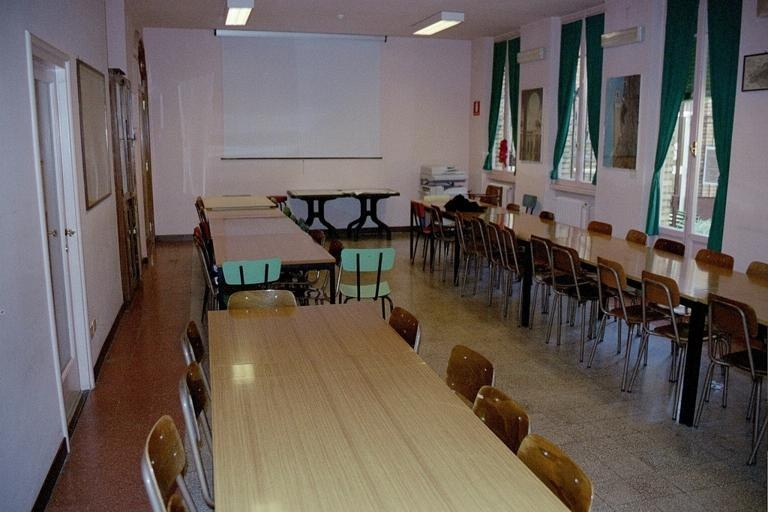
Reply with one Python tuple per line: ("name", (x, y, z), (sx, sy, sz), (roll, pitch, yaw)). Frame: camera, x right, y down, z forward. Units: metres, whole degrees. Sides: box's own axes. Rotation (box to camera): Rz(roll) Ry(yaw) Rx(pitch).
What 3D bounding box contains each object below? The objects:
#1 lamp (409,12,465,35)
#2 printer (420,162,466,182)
("lamp", (0.935, -3.959, 8.868), (0.391, 0.267, 1.396), (-6, 12, -17))
("printer", (1.293, -1.818, 11.524), (0.943, 0.351, 0.532), (-2, 12, 5))
